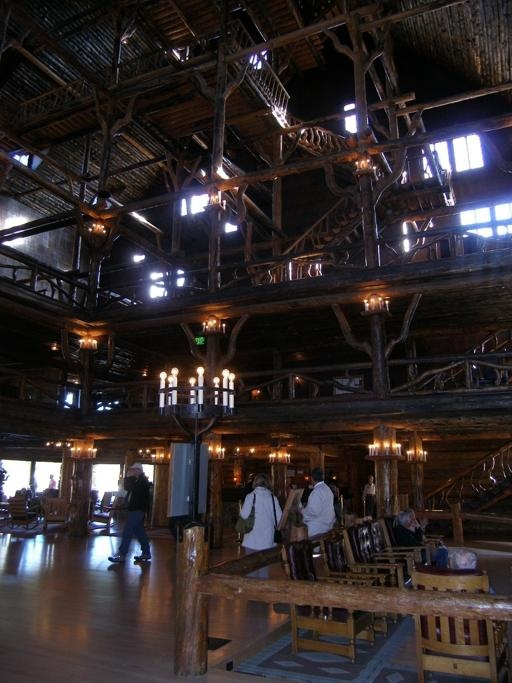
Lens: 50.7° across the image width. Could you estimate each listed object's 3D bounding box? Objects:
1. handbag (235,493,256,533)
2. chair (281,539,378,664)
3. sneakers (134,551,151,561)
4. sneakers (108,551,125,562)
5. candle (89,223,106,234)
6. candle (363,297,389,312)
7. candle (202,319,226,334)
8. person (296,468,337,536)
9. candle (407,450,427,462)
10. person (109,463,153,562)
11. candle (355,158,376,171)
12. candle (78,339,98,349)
[{"bbox_3d":[-0.163,2.071,6.405,0.257,0.477,0.317,2,-12,-21],"label":"handbag"},{"bbox_3d":[0.647,2.235,4.724,0.667,0.965,0.914,-5,-11,13],"label":"chair"},{"bbox_3d":[-1.968,3.667,9.210,0.302,0.153,0.121,3,-21,1],"label":"sneakers"},{"bbox_3d":[-2.330,3.587,8.986,0.275,0.198,0.310,1,-11,-15],"label":"sneakers"},{"bbox_3d":[-3.955,-2.783,13.353,0.343,0.291,0.259,0,-11,-12],"label":"candle"},{"bbox_3d":[2.211,-0.652,9.965,0.348,0.229,0.333,0,0,-1],"label":"candle"},{"bbox_3d":[-0.892,-0.311,11.343,0.363,0.263,0.346,2,-5,-3],"label":"candle"},{"bbox_3d":[0.768,1.968,6.659,0.412,0.789,0.431,-1,-11,-4],"label":"person"},{"bbox_3d":[3.763,2.648,12.664,0.369,0.233,0.358,-2,-8,27],"label":"candle"},{"bbox_3d":[-2.111,2.903,9.107,0.648,1.618,0.822,0,-12,-12],"label":"person"},{"bbox_3d":[2.140,-3.398,10.562,0.338,0.188,0.328,1,0,18],"label":"candle"},{"bbox_3d":[-4.014,0.060,13.015,0.299,0.195,0.284,0,-14,7],"label":"candle"}]
